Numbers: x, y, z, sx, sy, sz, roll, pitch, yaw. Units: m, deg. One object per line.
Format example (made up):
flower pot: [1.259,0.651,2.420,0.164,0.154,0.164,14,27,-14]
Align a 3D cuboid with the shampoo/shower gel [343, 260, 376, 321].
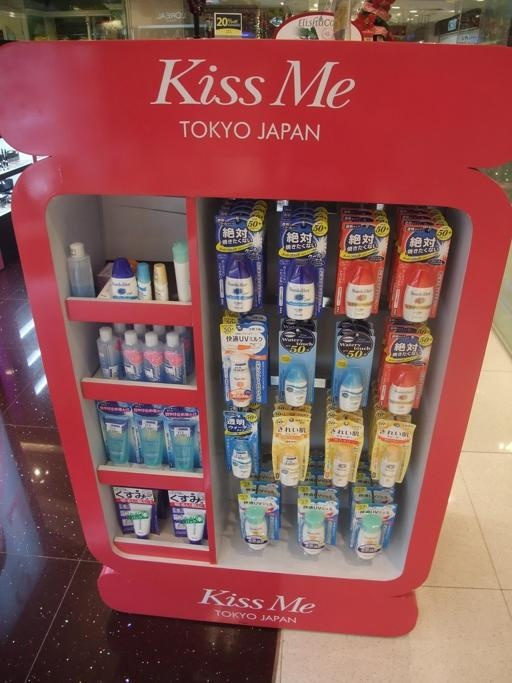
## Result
shampoo/shower gel: [0.263,-0.138,1.337,0.101,0.162,0.095,5,37,8]

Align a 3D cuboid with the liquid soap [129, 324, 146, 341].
liquid soap: [-0.358,-0.035,1.626,0.048,0.052,0.050,1,26,4]

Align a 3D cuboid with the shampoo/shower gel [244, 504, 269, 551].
shampoo/shower gel: [0.001,0.633,1.814,0.087,0.197,0.093,-9,42,-6]

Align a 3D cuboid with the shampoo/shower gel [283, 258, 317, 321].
shampoo/shower gel: [0.113,-0.137,1.362,0.077,0.147,0.084,-2,25,2]

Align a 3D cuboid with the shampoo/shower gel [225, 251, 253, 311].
shampoo/shower gel: [-0.044,-0.141,1.408,0.077,0.207,0.104,2,34,4]

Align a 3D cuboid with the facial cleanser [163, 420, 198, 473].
facial cleanser: [-0.237,0.342,1.716,0.114,0.154,0.030,-1,1,11]

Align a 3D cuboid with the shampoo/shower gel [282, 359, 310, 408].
shampoo/shower gel: [-0.367,-0.169,1.460,0.070,0.157,0.041,1,50,-7]

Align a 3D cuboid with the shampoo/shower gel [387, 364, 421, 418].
shampoo/shower gel: [0.407,0.133,1.453,0.075,0.142,0.068,-1,23,-7]

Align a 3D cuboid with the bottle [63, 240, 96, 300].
bottle: [-0.483,-0.202,1.476,0.068,0.149,0.058,10,29,13]

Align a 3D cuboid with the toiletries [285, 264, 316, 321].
toiletries: [0.114,-0.130,1.390,0.073,0.139,0.083,-2,25,2]
